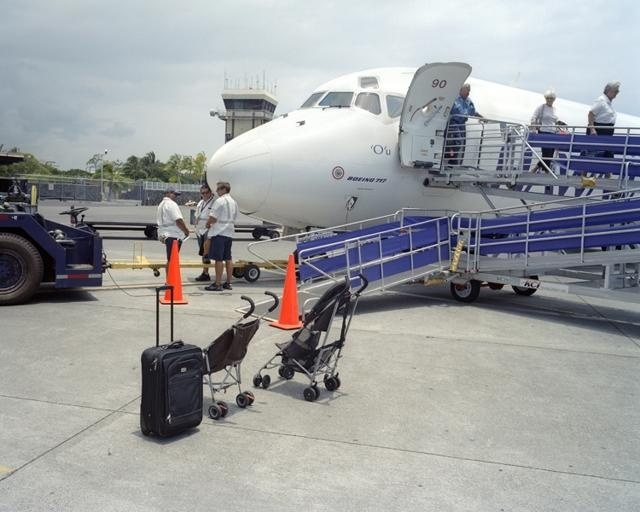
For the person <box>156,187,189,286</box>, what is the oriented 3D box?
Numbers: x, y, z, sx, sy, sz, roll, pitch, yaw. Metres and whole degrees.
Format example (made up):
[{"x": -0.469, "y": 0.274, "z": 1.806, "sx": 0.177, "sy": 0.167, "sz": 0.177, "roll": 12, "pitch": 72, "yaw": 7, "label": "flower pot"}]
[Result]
[{"x": -2.750, "y": -0.563, "z": 11.651, "sx": 0.645, "sy": 1.331, "sz": 0.594, "roll": 1, "pitch": 1, "yaw": -27, "label": "person"}]

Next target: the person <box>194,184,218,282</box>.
[{"x": -2.366, "y": -0.455, "z": 12.910, "sx": 0.445, "sy": 1.960, "sz": 0.670, "roll": 0, "pitch": 9, "yaw": -25, "label": "person"}]

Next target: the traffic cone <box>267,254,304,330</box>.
[{"x": -0.516, "y": 0.484, "z": 8.698, "sx": 0.429, "sy": 1.033, "sz": 0.461, "roll": 1, "pitch": 0, "yaw": 15, "label": "traffic cone"}]

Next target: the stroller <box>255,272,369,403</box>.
[{"x": -0.136, "y": 0.876, "z": 6.866, "sx": 1.131, "sy": 1.234, "sz": 0.703, "roll": 2, "pitch": 1, "yaw": 23, "label": "stroller"}]

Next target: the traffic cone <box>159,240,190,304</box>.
[{"x": -2.462, "y": 0.335, "z": 10.436, "sx": 0.722, "sy": 0.899, "sz": 0.698, "roll": 4, "pitch": 0, "yaw": 10, "label": "traffic cone"}]

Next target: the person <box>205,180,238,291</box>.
[{"x": -1.889, "y": -0.390, "z": 12.016, "sx": 0.663, "sy": 2.034, "sz": 0.669, "roll": 4, "pitch": 13, "yaw": -27, "label": "person"}]

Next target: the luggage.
[{"x": -1.324, "y": 0.946, "z": 5.611, "sx": 0.432, "sy": 1.258, "sz": 0.613, "roll": 1, "pitch": 1, "yaw": 27, "label": "luggage"}]

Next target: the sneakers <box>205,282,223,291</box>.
[{"x": -2.028, "y": 0.597, "z": 11.986, "sx": 0.324, "sy": 0.132, "sz": 0.126, "roll": 3, "pitch": -6, "yaw": 3, "label": "sneakers"}]

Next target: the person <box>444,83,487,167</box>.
[{"x": 3.114, "y": -2.758, "z": 13.619, "sx": 0.711, "sy": 1.866, "sz": 0.901, "roll": 14, "pitch": 16, "yaw": 40, "label": "person"}]

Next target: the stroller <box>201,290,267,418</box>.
[{"x": -1.058, "y": 0.938, "z": 6.241, "sx": 0.981, "sy": 1.113, "sz": 0.649, "roll": 5, "pitch": 2, "yaw": 27, "label": "stroller"}]
